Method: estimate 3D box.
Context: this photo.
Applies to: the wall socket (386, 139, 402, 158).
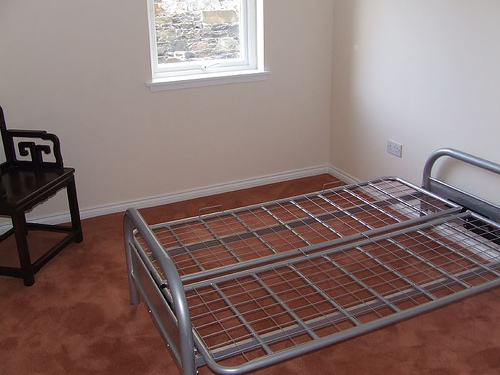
[{"bbox_3d":[1.267,-0.346,3.128,0.024,0.106,0.161,-16,31,-25],"label":"wall socket"}]
